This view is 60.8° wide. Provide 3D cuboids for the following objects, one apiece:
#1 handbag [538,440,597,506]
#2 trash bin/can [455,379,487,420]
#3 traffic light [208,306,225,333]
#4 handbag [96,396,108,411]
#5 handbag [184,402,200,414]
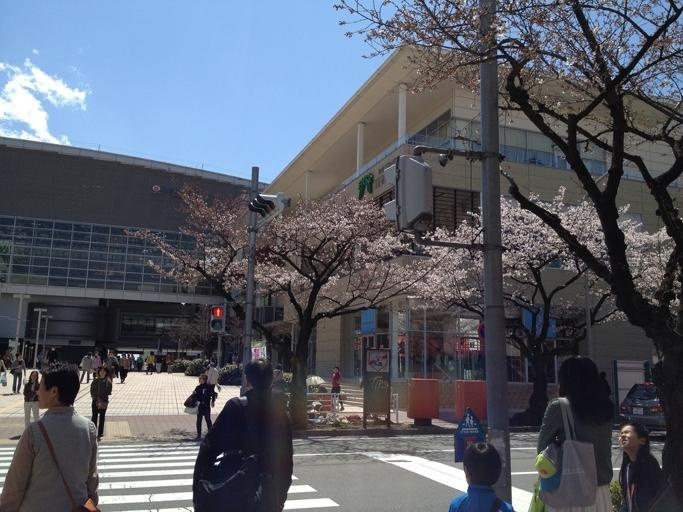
[{"bbox_3d":[1.982,1.913,5.088,0.507,0.717,0.291,-3,-4,9],"label":"handbag"},{"bbox_3d":[4.596,5.132,20.686,1.034,1.347,1.659,-2,-11,11],"label":"trash bin/can"},{"bbox_3d":[-3.790,1.925,17.826,0.396,0.856,1.532,3,-11,-12],"label":"traffic light"},{"bbox_3d":[-6.019,3.714,14.622,0.272,0.299,0.282,1,2,-39],"label":"handbag"},{"bbox_3d":[-3.966,4.058,15.225,0.351,0.336,0.313,20,-8,3],"label":"handbag"}]
